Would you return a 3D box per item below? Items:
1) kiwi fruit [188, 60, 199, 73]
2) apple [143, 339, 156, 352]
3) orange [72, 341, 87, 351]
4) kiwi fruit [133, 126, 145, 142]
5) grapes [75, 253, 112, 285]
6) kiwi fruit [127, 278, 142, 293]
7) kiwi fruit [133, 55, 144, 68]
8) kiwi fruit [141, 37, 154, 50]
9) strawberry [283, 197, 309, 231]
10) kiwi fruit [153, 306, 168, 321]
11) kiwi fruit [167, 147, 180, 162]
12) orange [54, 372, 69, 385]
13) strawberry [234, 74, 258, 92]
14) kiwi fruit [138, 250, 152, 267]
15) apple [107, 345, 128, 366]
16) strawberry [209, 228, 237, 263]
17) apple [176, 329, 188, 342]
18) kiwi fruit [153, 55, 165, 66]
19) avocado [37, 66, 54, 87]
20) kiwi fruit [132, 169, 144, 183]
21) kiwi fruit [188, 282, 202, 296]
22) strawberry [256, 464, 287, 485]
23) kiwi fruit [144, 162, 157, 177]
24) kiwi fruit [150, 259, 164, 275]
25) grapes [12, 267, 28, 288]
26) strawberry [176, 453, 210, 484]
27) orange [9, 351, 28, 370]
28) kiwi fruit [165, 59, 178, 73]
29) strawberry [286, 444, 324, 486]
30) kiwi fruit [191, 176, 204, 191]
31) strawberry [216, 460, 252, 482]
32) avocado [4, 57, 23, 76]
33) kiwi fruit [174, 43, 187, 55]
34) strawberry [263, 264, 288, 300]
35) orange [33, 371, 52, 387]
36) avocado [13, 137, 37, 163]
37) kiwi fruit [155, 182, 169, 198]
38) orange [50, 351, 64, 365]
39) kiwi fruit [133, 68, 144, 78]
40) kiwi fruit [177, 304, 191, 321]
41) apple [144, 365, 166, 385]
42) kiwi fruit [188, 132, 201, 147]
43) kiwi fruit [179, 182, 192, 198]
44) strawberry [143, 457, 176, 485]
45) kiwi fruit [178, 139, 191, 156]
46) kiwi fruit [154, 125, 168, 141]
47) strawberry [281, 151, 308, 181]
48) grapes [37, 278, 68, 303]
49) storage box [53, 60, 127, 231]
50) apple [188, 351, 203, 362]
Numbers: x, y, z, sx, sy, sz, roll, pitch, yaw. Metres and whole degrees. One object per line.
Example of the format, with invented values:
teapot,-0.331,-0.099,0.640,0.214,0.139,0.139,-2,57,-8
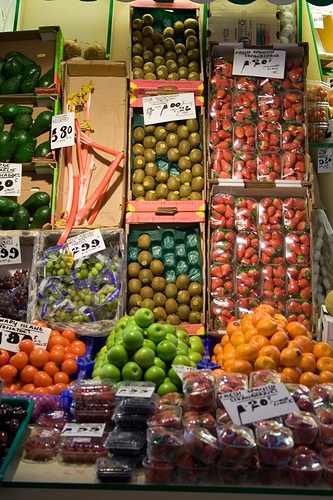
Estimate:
kiwi fruit,0.232,-1.585,3.075,0.091,0.109,0.081,4,16,21
apple,-0.063,0.349,1.334,0.041,0.049,0.041,3,8,3
orange,-0.481,0.516,1.955,0.053,0.061,0.053,2,42,-4
kiwi fruit,-0.227,-0.960,2.983,0.088,0.110,0.085,9,-7,-42
grapes,-0.463,0.105,2.259,0.172,0.154,0.068,-8,-37,8
kiwi fruit,-0.221,0.243,2.482,0.088,0.106,0.087,0,1,-9
kiwi fruit,-0.247,-1.625,3.077,0.090,0.106,0.091,8,20,7
kiwi fruit,-0.161,-1.812,3.125,0.101,0.100,0.055,-23,12,5
strawberry,0.973,-0.268,2.663,0.167,0.239,0.086,3,-13,7
kiwi fruit,-0.040,0.425,2.419,0.068,0.070,0.092,0,3,-5
kiwi fruit,0.055,-0.762,2.848,0.087,0.104,0.057,-7,-6,-7
orange,-0.489,0.591,1.655,0.055,0.063,0.054,18,-32,-40
strawberry,0.665,-1.372,2.924,0.153,0.126,0.051,-2,4,7
kiwi fruit,-0.154,0.056,2.558,0.097,0.117,0.098,5,9,45
apple,-0.174,0.381,1.346,0.070,0.080,0.071,-1,-38,-24
strawberry,0.407,-0.033,2.576,0.159,0.236,0.078,4,-10,9
apple,0.085,0.424,1.796,0.057,0.072,0.060,-9,4,24
kiwi fruit,-0.061,-1.635,3.083,0.095,0.093,0.059,-2,14,-1
avocado,-1.010,-1.439,2.979,0.139,0.184,0.229,-6,16,-17
kiwi fruit,-0.223,-0.585,2.815,0.103,0.107,0.068,-3,15,-5
kiwi fruit,0.200,0.268,2.478,0.086,0.081,0.085,2,44,0
strawberry,0.275,0.587,0.936,0.064,0.039,0.062,7,-25,-5
kiwi fruit,-0.120,-0.639,2.807,0.096,0.115,0.097,2,11,7
kiwi fruit,-0.063,0.118,2.587,0.094,0.115,0.095,-1,0,-23
grapes,-0.952,0.167,2.331,0.103,0.036,0.104,-13,44,7
strawberry,0.073,0.566,0.957,0.087,0.085,0.066,1,-10,3
orange,-0.687,0.510,1.660,0.074,0.089,0.074,7,-39,-26
kiwi fruit,0.049,-1.578,3.057,0.085,0.110,0.061,-18,11,5
strawberry,0.376,0.584,0.962,0.082,0.071,0.080,7,17,29
kiwi fruit,0.241,-0.515,2.795,0.101,0.120,0.099,3,-15,-7
strawberry,0.187,0.564,0.942,0.076,0.038,0.065,-1,-18,11
avocado,-1.342,-1.562,3.089,0.132,0.175,0.137,-2,20,-41
kiwi fruit,0.117,-1.755,3.121,0.104,0.096,0.053,0,14,5
strawberry,0.765,0.225,2.512,0.170,0.219,0.152,0,15,7
orange,-0.566,0.585,1.621,0.063,0.060,0.077,-27,46,-16
avocado,-1.114,-0.782,2.782,0.130,0.231,0.126,14,-19,4
kiwi fruit,-0.035,-0.457,2.735,0.079,0.106,0.079,10,-24,-9
orange,-0.536,0.520,1.741,0.062,0.071,0.061,4,1,-26
kiwi fruit,-0.240,-1.506,3.031,0.094,0.094,0.072,-3,15,-5
kiwi fruit,0.118,0.420,2.434,0.098,0.120,0.095,-1,-17,-21
apple,-0.042,0.448,1.283,0.066,0.065,0.079,4,29,0
kiwi fruit,0.228,-0.892,2.872,0.079,0.106,0.079,-3,10,-3
kiwi fruit,0.147,-0.461,2.723,0.097,0.115,0.098,8,11,15
strawberry,-0.023,0.573,0.950,0.060,0.041,0.084,0,-15,-2
kiwi fruit,0.142,-0.829,2.905,0.106,0.126,0.107,13,42,13
kiwi fruit,-0.047,-0.952,2.893,0.102,0.102,0.059,-14,-6,9
strawberry,0.988,-0.657,2.757,0.180,0.200,0.160,1,15,11
grapes,-0.708,0.245,2.245,0.155,0.135,0.054,12,-9,4
storage box,-0.592,-0.918,2.864,0.587,1.327,0.901,-3,15,-4
apple,0.132,0.489,1.663,0.041,0.041,0.049,44,0,-36
